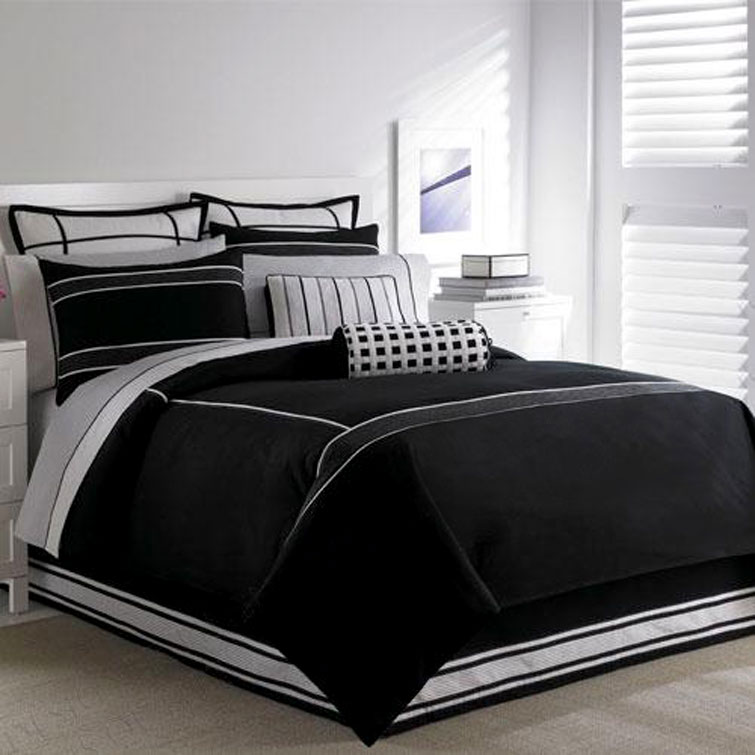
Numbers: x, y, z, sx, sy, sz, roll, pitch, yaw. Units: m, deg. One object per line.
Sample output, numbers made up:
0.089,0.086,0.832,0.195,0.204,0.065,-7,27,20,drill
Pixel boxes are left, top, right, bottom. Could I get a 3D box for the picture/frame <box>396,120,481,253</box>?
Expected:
0.287,-0.983,3.682,0.608,0.809,0.048,-6,8,-44,picture/frame
